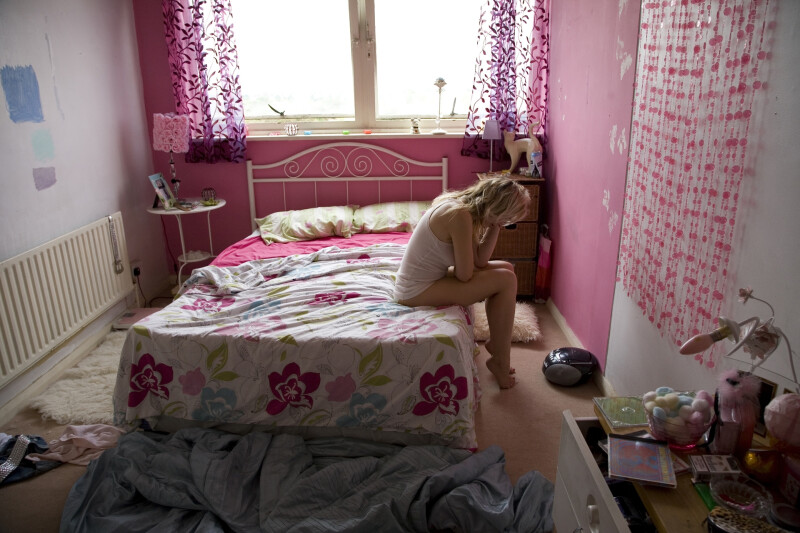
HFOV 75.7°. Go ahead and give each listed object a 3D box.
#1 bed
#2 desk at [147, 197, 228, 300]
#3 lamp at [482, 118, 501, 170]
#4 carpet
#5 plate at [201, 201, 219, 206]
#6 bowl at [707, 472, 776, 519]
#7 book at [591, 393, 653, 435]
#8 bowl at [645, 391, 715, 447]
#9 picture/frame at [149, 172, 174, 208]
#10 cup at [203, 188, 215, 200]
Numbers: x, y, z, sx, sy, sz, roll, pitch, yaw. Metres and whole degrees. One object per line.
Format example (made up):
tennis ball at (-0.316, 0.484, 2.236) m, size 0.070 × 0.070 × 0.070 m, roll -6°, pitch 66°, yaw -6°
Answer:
bed at (-0.502, 0.240, 3.584) m, size 1.637 × 1.183 × 2.205 m, roll 2°, pitch 29°, yaw 6°
desk at (-1.690, -0.224, 4.468) m, size 0.729 × 0.865 × 0.767 m, roll -4°, pitch 21°, yaw -19°
lamp at (0.747, -0.985, 4.181) m, size 0.141 × 0.436 × 0.355 m, roll 1°, pitch 18°, yaw 10°
carpet at (-1.949, 0.621, 3.214) m, size 0.385 × 0.093 × 0.646 m, roll 5°, pitch 23°, yaw 0°
plate at (-1.541, -0.511, 4.161) m, size 0.065 × 0.028 × 0.065 m, roll -8°, pitch 5°, yaw -28°
bowl at (1.029, 0.683, 1.548) m, size 0.163 × 0.064 × 0.114 m, roll 7°, pitch 19°, yaw 28°
book at (0.791, 0.528, 1.832) m, size 0.128 × 0.035 × 0.128 m, roll -3°, pitch 22°, yaw -2°
bowl at (0.916, 0.493, 1.744) m, size 0.218 × 0.147 × 0.215 m, roll 3°, pitch 4°, yaw 0°
picture/frame at (-1.890, -0.603, 4.090) m, size 0.068 × 0.266 × 0.281 m, roll -18°, pitch 2°, yaw 14°
cup at (-1.568, -0.592, 4.239) m, size 0.118 × 0.105 × 0.074 m, roll -5°, pitch 18°, yaw -18°
